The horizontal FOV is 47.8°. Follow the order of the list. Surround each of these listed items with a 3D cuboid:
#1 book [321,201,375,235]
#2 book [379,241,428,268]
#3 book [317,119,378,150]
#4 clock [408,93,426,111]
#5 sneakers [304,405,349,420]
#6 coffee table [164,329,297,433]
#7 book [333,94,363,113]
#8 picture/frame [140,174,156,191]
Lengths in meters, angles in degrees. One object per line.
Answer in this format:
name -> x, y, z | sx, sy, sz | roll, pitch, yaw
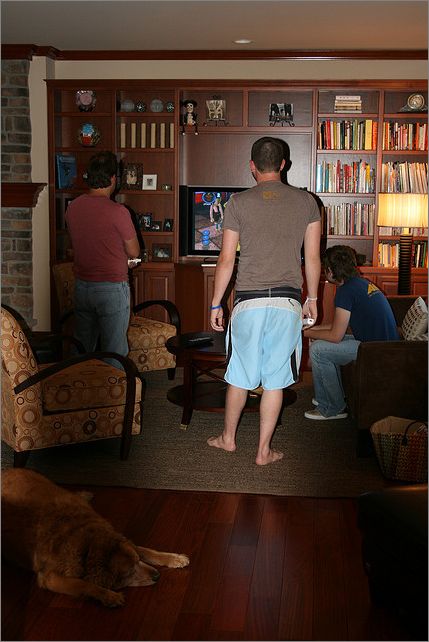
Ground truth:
book -> 1.434, -1.066, 5.082 | 0.508, 0.277, 0.068 | 1, 0, 4
book -> 1.914, -0.659, 4.865 | 0.301, 0.280, 0.105 | 2, 18, 9
book -> 1.366, -1.892, 4.935 | 0.591, 0.249, 0.065 | 1, 0, 3
clock -> 2.059, -2.208, 4.880 | 0.180, 0.174, 0.123 | 1, 1, 10
sneakers -> 0.759, 0.629, 3.264 | 0.279, 0.111, 0.105 | 2, 5, 1
coffee table -> -0.048, 0.360, 3.195 | 0.653, 0.429, 0.662 | 0, 4, -6
book -> 1.365, -2.213, 4.926 | 0.275, 0.161, 0.111 | 1, 1, 6
picture/frame -> -0.729, -1.506, 5.294 | 0.189, 0.237, 0.016 | 5, 6, 2
